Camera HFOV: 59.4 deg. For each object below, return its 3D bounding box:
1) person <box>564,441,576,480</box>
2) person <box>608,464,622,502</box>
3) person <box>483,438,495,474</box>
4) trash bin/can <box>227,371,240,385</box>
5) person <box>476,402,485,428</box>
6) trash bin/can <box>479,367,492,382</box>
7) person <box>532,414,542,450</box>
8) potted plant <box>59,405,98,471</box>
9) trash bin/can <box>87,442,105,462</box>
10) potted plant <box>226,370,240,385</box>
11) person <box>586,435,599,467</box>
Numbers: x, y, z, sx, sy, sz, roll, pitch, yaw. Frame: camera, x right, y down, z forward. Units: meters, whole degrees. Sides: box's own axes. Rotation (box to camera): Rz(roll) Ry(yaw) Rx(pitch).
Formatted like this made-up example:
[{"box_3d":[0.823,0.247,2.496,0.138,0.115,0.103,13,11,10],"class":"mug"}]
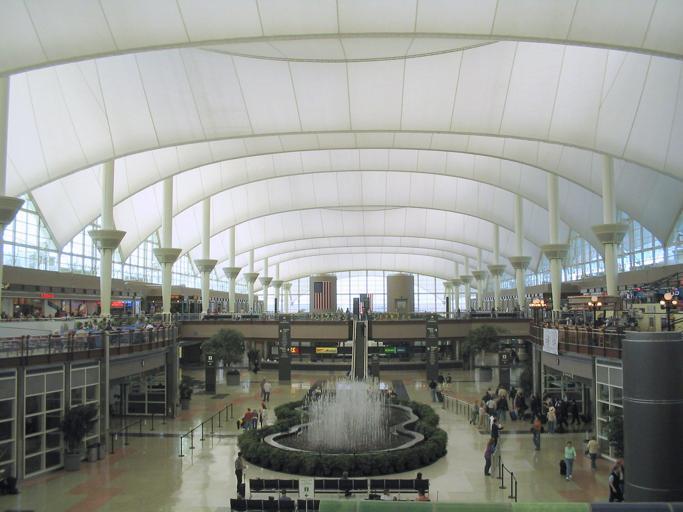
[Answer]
[{"box_3d":[9.011,7.934,23.678,0.367,1.430,1.696,-3,-8,20],"class":"person"},{"box_3d":[9.416,7.711,20.528,0.461,1.245,0.568,-3,-8,21],"class":"person"},{"box_3d":[5.937,7.983,23.987,0.458,1.406,1.053,-2,-8,14],"class":"person"},{"box_3d":[-8.312,9.249,45.511,0.876,0.698,0.923,-1,-2,3],"class":"trash bin/can"},{"box_3d":[7.304,8.292,31.443,0.534,1.254,1.473,-2,-8,12],"class":"person"},{"box_3d":[11.356,9.319,47.251,0.941,1.010,0.960,0,-8,-6],"class":"trash bin/can"},{"box_3d":[8.830,7.973,27.070,0.363,1.426,1.015,-3,-8,15],"class":"person"},{"box_3d":[-11.002,7.574,25.147,1.132,2.605,1.509,-2,-7,11],"class":"potted plant"},{"box_3d":[-10.727,8.475,26.139,0.499,0.686,0.950,0,-1,20],"class":"trash bin/can"},{"box_3d":[-8.330,9.224,45.607,0.966,1.011,1.000,1,-8,-9],"class":"potted plant"},{"box_3d":[10.401,8.083,24.727,0.393,1.169,1.618,-3,-8,21],"class":"person"}]
